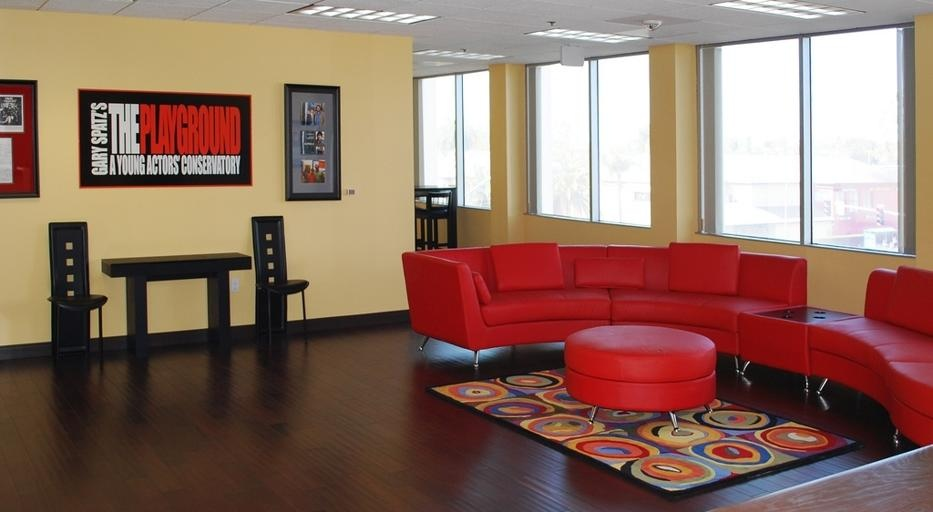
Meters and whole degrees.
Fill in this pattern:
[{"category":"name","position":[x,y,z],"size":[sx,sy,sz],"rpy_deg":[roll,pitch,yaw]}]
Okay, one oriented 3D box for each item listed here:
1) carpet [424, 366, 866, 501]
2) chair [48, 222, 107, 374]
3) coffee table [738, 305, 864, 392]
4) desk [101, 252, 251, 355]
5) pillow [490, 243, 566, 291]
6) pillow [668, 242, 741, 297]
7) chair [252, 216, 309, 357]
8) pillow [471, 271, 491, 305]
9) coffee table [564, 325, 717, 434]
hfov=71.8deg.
[{"category":"carpet","position":[1.695,1.832,6.389],"size":[3.219,0.056,4.119],"rpy_deg":[-5,-6,14]},{"category":"chair","position":[-4.928,0.458,8.113],"size":[0.699,1.730,0.669],"rpy_deg":[-10,14,-27]},{"category":"coffee table","position":[3.869,0.977,7.548],"size":[1.110,0.689,1.074],"rpy_deg":[-6,8,-36]},{"category":"desk","position":[-3.908,0.643,8.549],"size":[1.584,0.869,0.466],"rpy_deg":[-4,12,-28]},{"category":"pillow","position":[0.774,0.170,8.881],"size":[1.123,0.282,1.245],"rpy_deg":[-4,33,1]},{"category":"pillow","position":[3.146,0.166,8.513],"size":[0.346,0.655,1.076],"rpy_deg":[-5,5,-32]},{"category":"chair","position":[-2.622,0.306,8.968],"size":[0.747,1.702,0.686],"rpy_deg":[-8,13,-17]},{"category":"pillow","position":[0.183,0.406,7.998],"size":[0.204,0.379,0.199],"rpy_deg":[-4,12,0]},{"category":"coffee table","position":[1.833,1.236,6.933],"size":[1.688,0.740,1.532],"rpy_deg":[-6,9,-33]}]
